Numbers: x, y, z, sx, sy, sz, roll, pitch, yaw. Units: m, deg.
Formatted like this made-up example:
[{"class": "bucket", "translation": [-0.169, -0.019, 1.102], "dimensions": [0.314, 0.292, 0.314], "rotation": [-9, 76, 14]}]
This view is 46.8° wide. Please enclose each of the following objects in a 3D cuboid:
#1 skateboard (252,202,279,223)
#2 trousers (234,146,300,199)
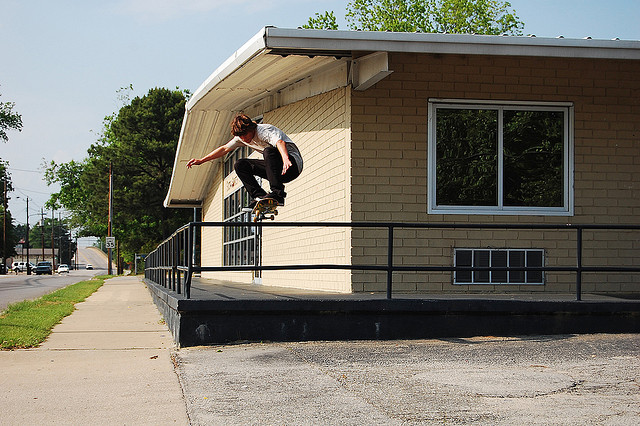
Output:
[{"class": "skateboard", "translation": [-0.921, -0.079, 11.822], "dimensions": [0.425, 0.211, 0.437], "rotation": [-7, -6, 6]}, {"class": "trousers", "translation": [-0.844, -0.662, 11.770], "dimensions": [0.457, 0.829, 1.060], "rotation": [-10, 10, -43]}]
